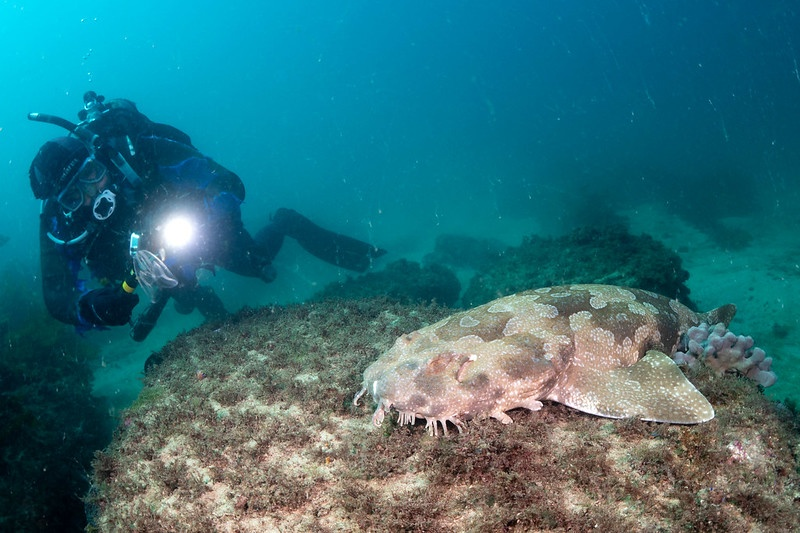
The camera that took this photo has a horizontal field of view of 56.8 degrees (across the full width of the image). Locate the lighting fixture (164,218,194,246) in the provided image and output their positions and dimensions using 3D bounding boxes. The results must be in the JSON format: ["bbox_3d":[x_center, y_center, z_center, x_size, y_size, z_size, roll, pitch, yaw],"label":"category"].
[{"bbox_3d":[-7.589,-1.136,25.061,0.856,0.593,0.884,8,17,23],"label":"lighting fixture"}]

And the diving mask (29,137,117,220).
[{"bbox_3d":[-11.363,-3.135,25.171,2.456,1.915,1.775,-32,41,-18],"label":"diving mask"}]

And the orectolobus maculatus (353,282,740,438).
[{"bbox_3d":[4.263,2.684,22.007,9.224,2.886,3.586,-12,39,6],"label":"orectolobus maculatus"}]
